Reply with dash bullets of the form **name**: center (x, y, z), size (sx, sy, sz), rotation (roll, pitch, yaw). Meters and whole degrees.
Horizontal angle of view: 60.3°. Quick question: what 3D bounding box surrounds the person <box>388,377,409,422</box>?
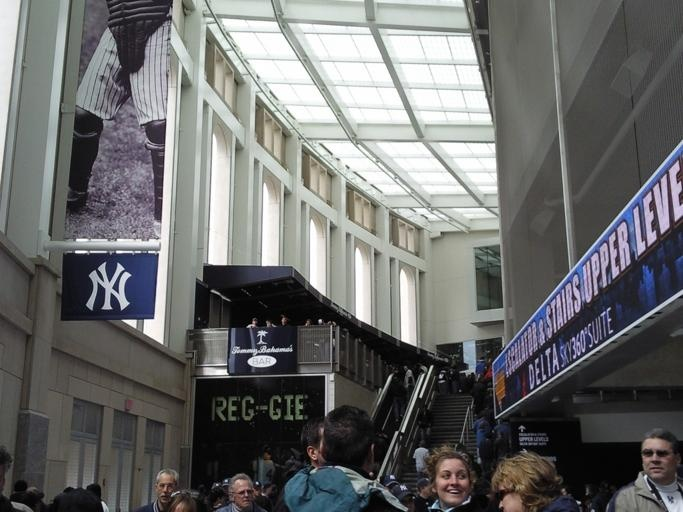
- **person**: center (2.065, 5.018, 20.912), size (0.491, 0.476, 1.799), rotation (12, -52, 23)
